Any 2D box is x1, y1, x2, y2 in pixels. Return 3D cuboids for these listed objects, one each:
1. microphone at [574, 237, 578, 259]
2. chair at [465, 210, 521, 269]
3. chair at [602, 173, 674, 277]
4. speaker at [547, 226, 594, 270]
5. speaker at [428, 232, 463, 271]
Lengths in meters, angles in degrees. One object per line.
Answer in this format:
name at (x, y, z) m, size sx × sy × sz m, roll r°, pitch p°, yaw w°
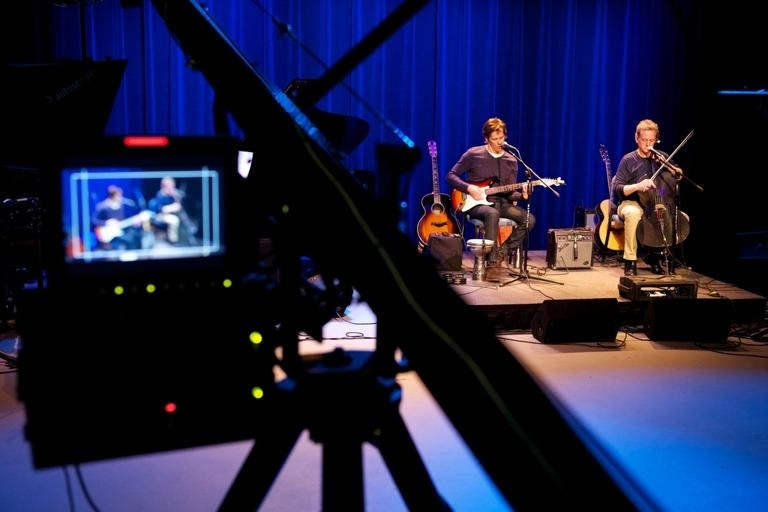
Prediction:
microphone at (1.793, -0.064, 6.239) m, size 0.043 × 0.170 × 0.012 m, roll -2°, pitch 7°, yaw -8°
chair at (1.017, -0.132, 6.141) m, size 0.477 × 0.654 × 0.466 m, roll 3°, pitch -7°, yaw -11°
chair at (2.336, -0.317, 5.954) m, size 0.448 × 0.945 × 0.281 m, roll -3°, pitch 5°, yaw -7°
speaker at (1.718, -0.107, 6.361) m, size 0.443 × 0.447 × 0.364 m, roll -1°, pitch 5°, yaw -9°
speaker at (0.547, -0.046, 5.782) m, size 0.368 × 0.374 × 0.327 m, roll 0°, pitch 0°, yaw -4°
